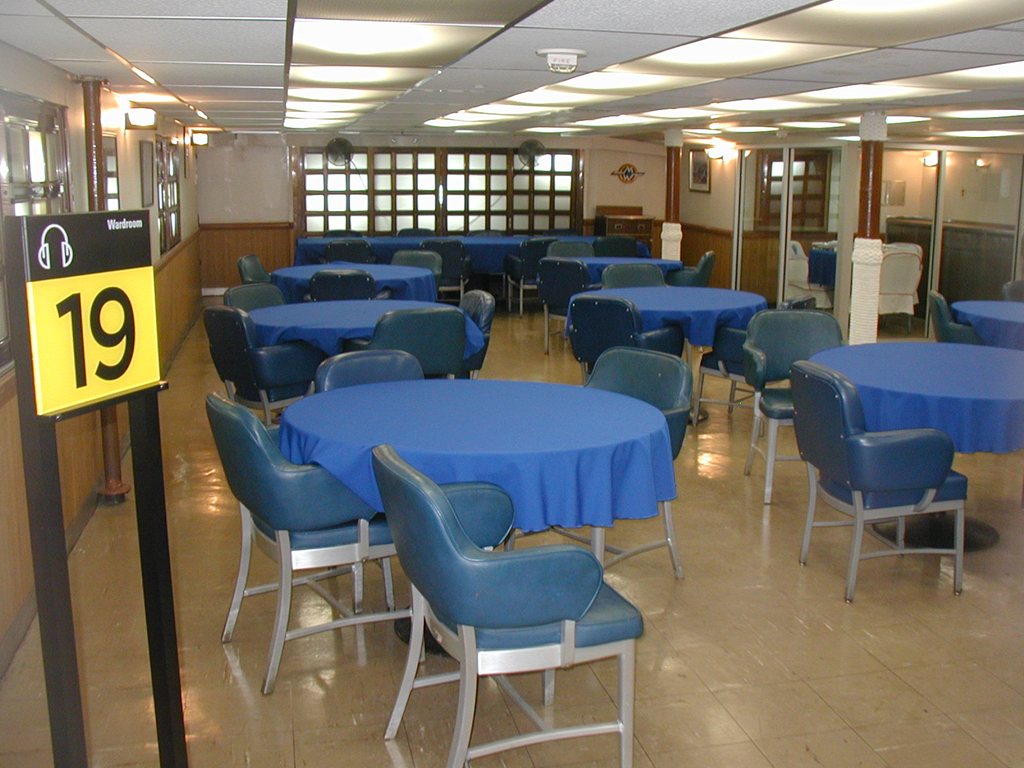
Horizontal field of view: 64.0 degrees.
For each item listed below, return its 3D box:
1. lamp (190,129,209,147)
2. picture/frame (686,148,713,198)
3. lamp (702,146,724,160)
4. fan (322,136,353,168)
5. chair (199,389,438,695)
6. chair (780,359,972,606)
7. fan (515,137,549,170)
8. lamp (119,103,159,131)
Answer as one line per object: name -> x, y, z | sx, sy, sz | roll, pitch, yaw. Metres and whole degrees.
lamp -> -4.099, -3.321, 10.952 | 0.324, 0.086, 0.330 | -12, 32, -29
picture/frame -> 2.852, -3.256, 12.448 | 0.055, 0.823, 0.733 | -7, 15, -20
lamp -> 2.909, -3.349, 11.767 | 0.221, 0.212, 0.643 | 0, 11, 9
fan -> -2.605, -3.515, 12.306 | 0.441, 0.414, 0.571 | -4, 12, -11
chair -> -0.875, 0.497, 3.861 | 1.002, 1.756, 1.086 | -8, 18, -26
chair -> 1.712, 0.441, 3.885 | 0.773, 1.095, 0.653 | 1, 12, 13
fan -> 0.305, -3.606, 12.805 | 0.415, 0.537, 0.342 | 0, 53, -1
lamp -> -2.863, -2.082, 6.377 | 0.145, 0.165, 0.336 | 1, 12, 13
